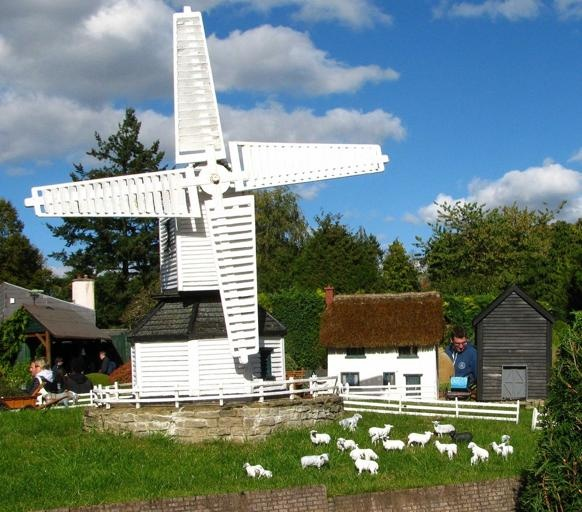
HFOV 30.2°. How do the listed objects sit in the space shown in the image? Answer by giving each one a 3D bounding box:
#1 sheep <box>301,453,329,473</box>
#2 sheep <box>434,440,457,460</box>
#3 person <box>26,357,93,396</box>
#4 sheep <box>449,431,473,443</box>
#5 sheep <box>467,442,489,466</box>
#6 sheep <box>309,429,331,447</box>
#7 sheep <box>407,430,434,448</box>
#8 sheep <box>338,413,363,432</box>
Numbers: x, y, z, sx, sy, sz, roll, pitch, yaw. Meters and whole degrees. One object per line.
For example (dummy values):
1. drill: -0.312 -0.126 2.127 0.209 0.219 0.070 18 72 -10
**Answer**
1. sheep: 0.666 5.868 30.991 0.810 0.413 0.520 -1 -3 -1
2. sheep: 4.578 5.696 31.709 0.630 0.455 0.699 -2 -3 8
3. person: -8.960 4.675 40.732 1.332 1.157 2.073 4 -1 -43
4. sheep: 5.258 5.581 33.277 0.717 0.679 0.270 2 -7 12
5. sheep: 5.476 5.734 31.357 0.519 0.576 0.841 -2 -3 9
6. sheep: 0.888 5.521 32.886 0.597 0.467 0.794 -1 -3 1
7. sheep: 3.931 5.601 33.021 0.905 0.694 0.372 -2 -1 -4
8. sheep: 1.843 5.380 34.921 0.845 0.669 0.329 -5 -4 20
